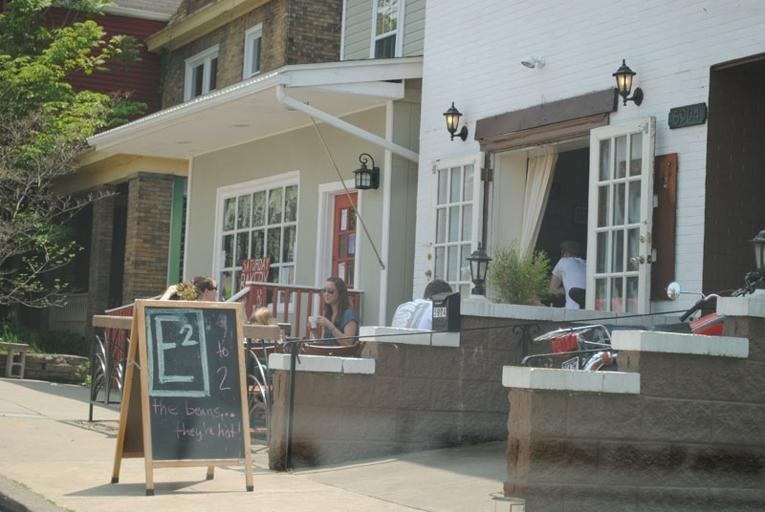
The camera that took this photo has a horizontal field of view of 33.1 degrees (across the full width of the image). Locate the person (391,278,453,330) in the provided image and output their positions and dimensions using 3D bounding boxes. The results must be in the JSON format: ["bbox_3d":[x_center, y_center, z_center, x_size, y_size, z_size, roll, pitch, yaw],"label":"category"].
[{"bbox_3d":[0.504,0.656,17.200,0.763,0.723,1.057,3,-8,-15],"label":"person"}]

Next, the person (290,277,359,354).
[{"bbox_3d":[-0.716,0.795,18.186,0.913,1.391,0.940,5,-8,-41],"label":"person"}]

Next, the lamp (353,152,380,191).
[{"bbox_3d":[-0.281,-1.395,20.921,0.379,0.620,0.318,4,-9,-23],"label":"lamp"}]

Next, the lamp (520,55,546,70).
[{"bbox_3d":[2.122,-2.787,18.531,0.421,0.226,0.182,-5,-10,35],"label":"lamp"}]

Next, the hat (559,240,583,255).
[{"bbox_3d":[2.714,-0.092,18.534,0.240,0.279,0.288,0,13,-1],"label":"hat"}]

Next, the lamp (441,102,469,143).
[{"bbox_3d":[1.016,-2.037,19.326,0.346,0.623,0.421,7,-10,-37],"label":"lamp"}]

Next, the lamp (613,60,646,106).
[{"bbox_3d":[3.302,-2.332,17.382,0.322,0.576,0.288,-4,-9,34],"label":"lamp"}]

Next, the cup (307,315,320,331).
[{"bbox_3d":[-0.969,0.915,17.908,0.197,0.150,0.199,0,-10,0],"label":"cup"}]

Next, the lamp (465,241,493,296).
[{"bbox_3d":[1.353,0.180,17.729,0.357,0.763,0.362,4,-8,-19],"label":"lamp"}]
